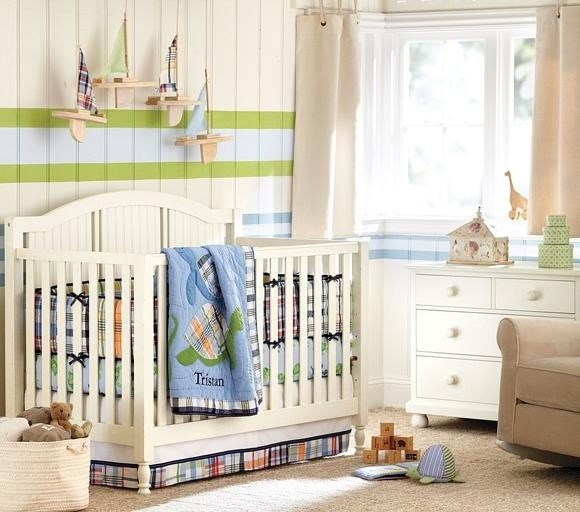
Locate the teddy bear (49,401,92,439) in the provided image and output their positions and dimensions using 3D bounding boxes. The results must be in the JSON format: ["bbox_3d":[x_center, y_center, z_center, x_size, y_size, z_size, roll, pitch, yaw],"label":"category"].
[{"bbox_3d":[-0.756,0.566,2.603,0.134,0.153,0.106,-15,-18,24],"label":"teddy bear"}]

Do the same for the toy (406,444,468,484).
[{"bbox_3d":[0.552,0.795,2.909,0.214,0.147,0.193,-6,3,-2],"label":"toy"}]
